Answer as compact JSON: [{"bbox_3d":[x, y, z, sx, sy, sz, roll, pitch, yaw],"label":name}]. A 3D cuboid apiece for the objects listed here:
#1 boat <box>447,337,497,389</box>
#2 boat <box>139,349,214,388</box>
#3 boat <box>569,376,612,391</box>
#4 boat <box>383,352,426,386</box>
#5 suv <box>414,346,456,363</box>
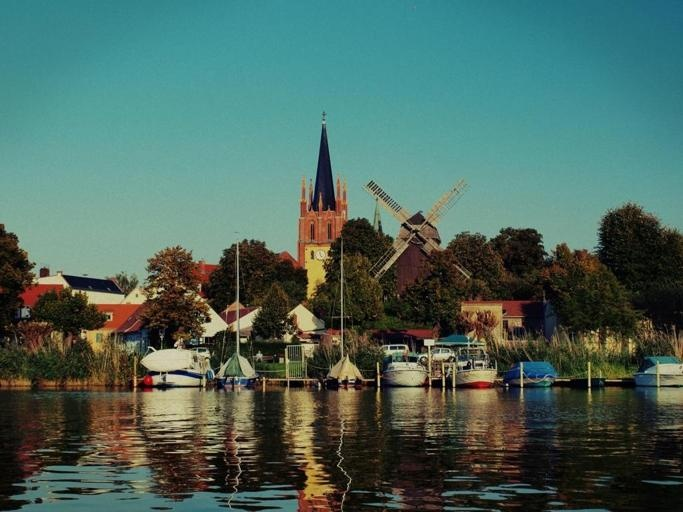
[{"bbox_3d":[10.776,8.463,92.233,3.246,4.791,7.353,-3,-10,6],"label":"boat"},{"bbox_3d":[-13.239,9.225,94.859,2.891,2.288,5.431,-1,-12,4],"label":"boat"},{"bbox_3d":[19.184,9.814,88.324,2.866,1.057,3.240,-4,-11,12],"label":"boat"},{"bbox_3d":[5.153,9.119,91.485,3.483,2.899,2.479,-3,-10,4],"label":"boat"},{"bbox_3d":[8.171,8.351,98.696,3.031,1.104,1.451,2,-7,0],"label":"suv"}]
